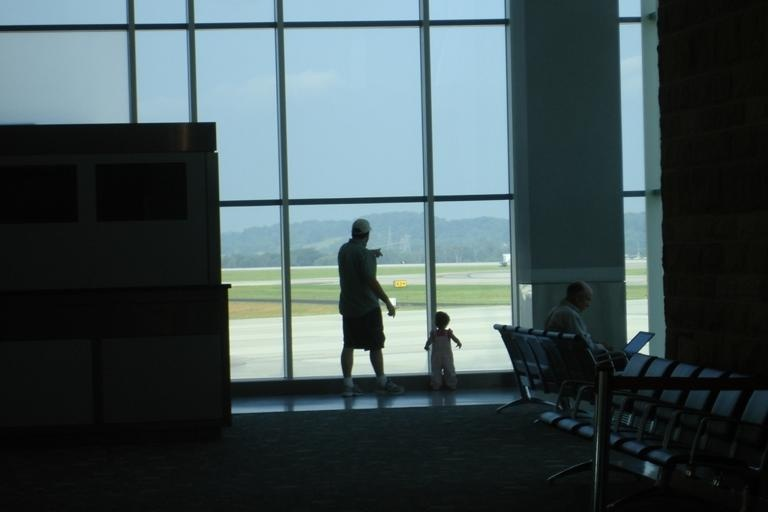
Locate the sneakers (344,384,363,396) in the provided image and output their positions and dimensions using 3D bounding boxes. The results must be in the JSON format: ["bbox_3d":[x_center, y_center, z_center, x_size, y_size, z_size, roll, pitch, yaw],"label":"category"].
[{"bbox_3d":[-0.453,1.862,11.286,0.284,0.125,0.111,-1,0,-29],"label":"sneakers"}]

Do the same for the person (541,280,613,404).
[{"bbox_3d":[2.223,0.718,9.512,0.846,1.121,0.783,2,2,-15],"label":"person"}]

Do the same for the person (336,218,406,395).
[{"bbox_3d":[-0.278,0.704,11.231,0.804,2.409,0.575,-4,7,-3],"label":"person"}]

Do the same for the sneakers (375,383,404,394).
[{"bbox_3d":[0.074,1.828,11.254,0.344,0.162,0.156,1,-5,-4],"label":"sneakers"}]

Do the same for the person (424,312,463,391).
[{"bbox_3d":[0.830,1.291,11.644,0.508,1.137,0.716,-4,7,4],"label":"person"}]
